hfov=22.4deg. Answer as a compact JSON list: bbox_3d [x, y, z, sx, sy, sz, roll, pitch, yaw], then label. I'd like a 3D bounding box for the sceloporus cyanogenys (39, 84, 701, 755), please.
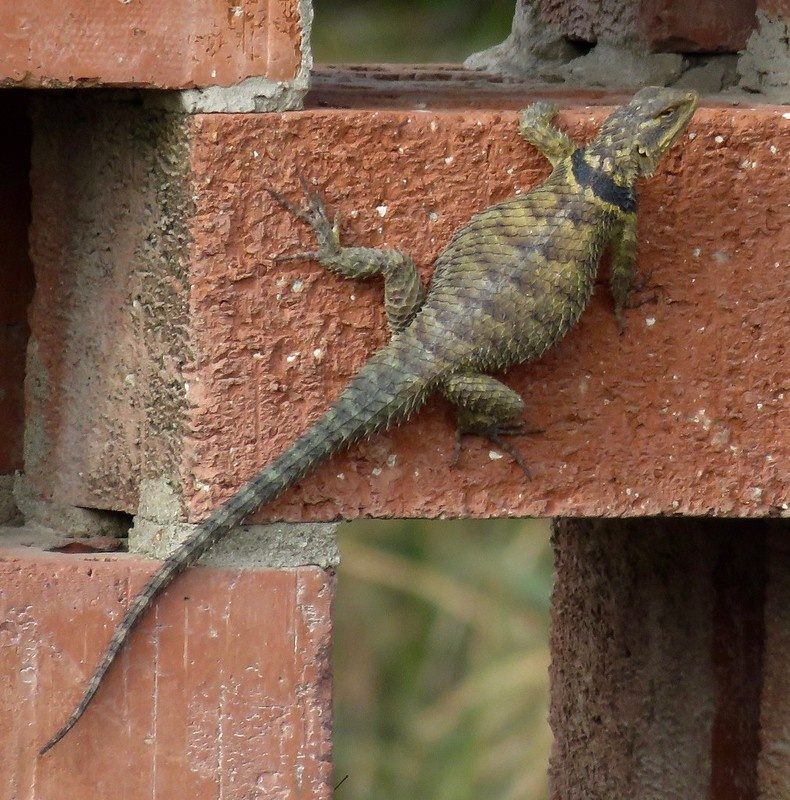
[{"bbox_3d":[-0.114,-0.007,3.267,1.381,0.204,0.605,-37,103,-15],"label":"sceloporus cyanogenys"}]
